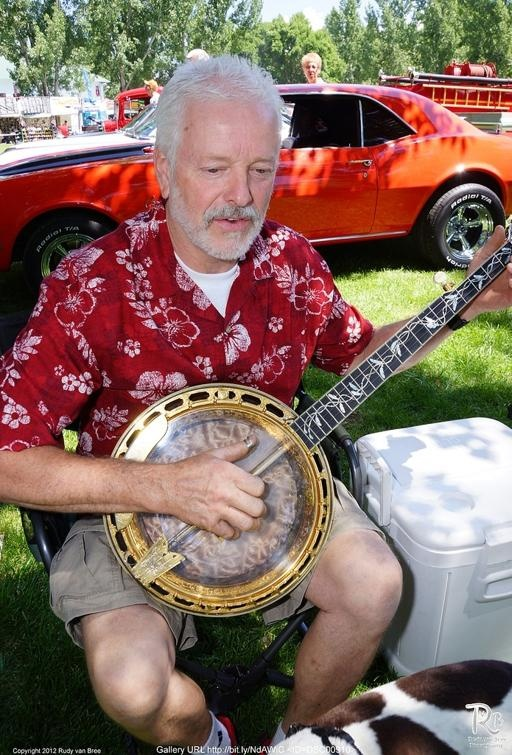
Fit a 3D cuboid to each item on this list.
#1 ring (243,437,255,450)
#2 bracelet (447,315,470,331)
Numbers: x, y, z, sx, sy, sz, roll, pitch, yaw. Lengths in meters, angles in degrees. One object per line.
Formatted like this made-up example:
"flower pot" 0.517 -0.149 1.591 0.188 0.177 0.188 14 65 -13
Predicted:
"ring" -0.018 0.163 1.554 0.024 0.023 0.038 16 31 26
"bracelet" 0.546 -0.151 1.707 0.035 0.049 0.018 34 74 4
